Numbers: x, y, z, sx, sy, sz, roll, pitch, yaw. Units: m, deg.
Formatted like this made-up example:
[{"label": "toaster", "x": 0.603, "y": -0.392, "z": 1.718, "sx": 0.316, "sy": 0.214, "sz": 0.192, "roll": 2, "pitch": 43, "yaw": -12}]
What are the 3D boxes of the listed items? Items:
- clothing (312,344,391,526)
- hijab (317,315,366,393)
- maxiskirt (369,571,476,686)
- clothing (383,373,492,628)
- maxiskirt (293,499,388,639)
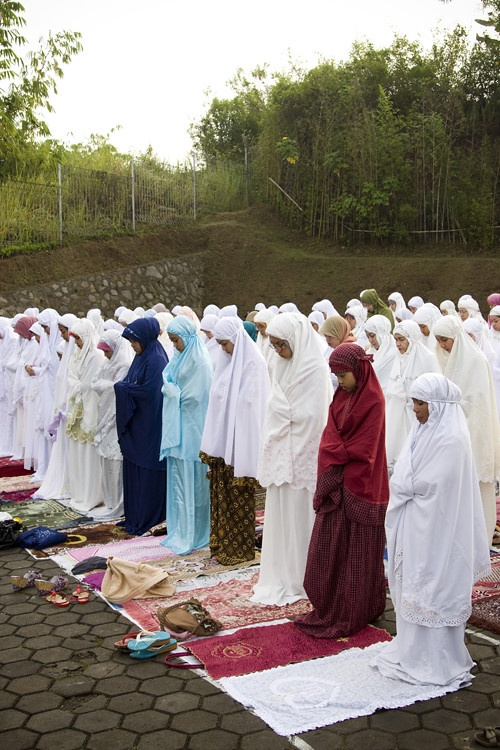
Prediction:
[{"label": "clothing", "x": 0.519, "y": 0.305, "z": 3.146, "sx": 0.353, "sy": 0.886, "sz": 0.395, "roll": 7, "pitch": -8, "yaw": -39}, {"label": "hijab", "x": 0.582, "y": -0.147, "z": 3.964, "sx": 0.262, "sy": 0.453, "sz": 0.247, "roll": -2, "pitch": 4, "yaw": -7}, {"label": "maxiskirt", "x": 0.731, "y": 1.039, "z": 2.624, "sx": 0.389, "sy": 0.377, "sz": 0.314, "roll": 2, "pitch": 2, "yaw": 35}, {"label": "clothing", "x": 0.829, "y": 0.504, "z": 2.613, "sx": 0.432, "sy": 0.973, "sz": 0.352, "roll": 0, "pitch": -1, "yaw": 8}, {"label": "maxiskirt", "x": 0.471, "y": 1.000, "z": 3.088, "sx": 0.381, "sy": 0.665, "sz": 0.701, "roll": 3, "pitch": 1, "yaw": 37}]
